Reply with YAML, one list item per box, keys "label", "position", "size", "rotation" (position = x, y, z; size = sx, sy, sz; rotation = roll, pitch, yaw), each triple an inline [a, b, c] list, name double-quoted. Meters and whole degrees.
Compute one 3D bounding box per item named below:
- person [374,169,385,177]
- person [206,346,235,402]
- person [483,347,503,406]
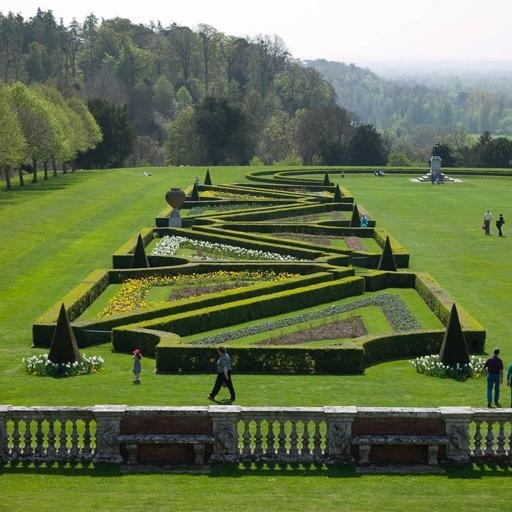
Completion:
- label: "person"
  position: [10.722, -7.011, 111.538]
  size: [0.648, 0.677, 1.291]
  rotation: [-10, 16, -31]
- label: "person"
  position: [-0.944, 3.275, 36.036]
  size: [0.732, 1.607, 0.598]
  rotation: [1, 14, -3]
- label: "person"
  position: [6.687, 3.335, 36.228]
  size: [0.482, 1.605, 1.225]
  rotation: [2, 9, 11]
